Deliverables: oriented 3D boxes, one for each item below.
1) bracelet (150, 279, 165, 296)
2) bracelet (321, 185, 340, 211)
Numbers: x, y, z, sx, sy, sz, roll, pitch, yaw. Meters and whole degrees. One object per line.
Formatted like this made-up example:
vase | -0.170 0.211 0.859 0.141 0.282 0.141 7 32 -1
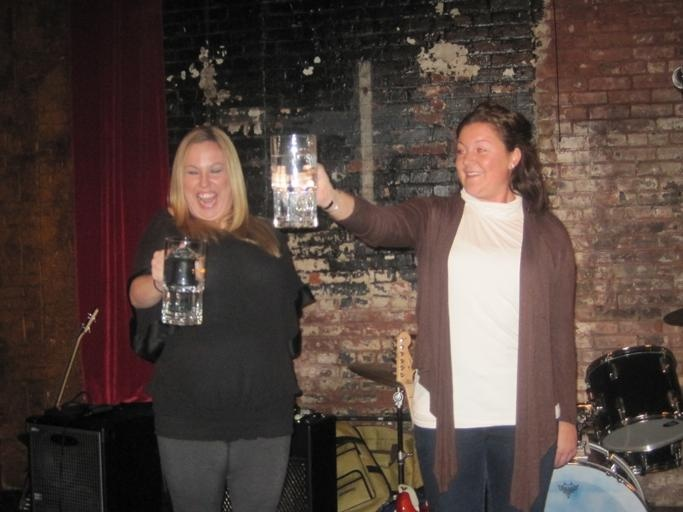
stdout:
bracelet | -0.720 0.128 2.924 0.064 0.048 0.064 -1 8 2
bracelet | -0.040 -0.242 3.052 0.114 0.127 0.078 1 3 0
